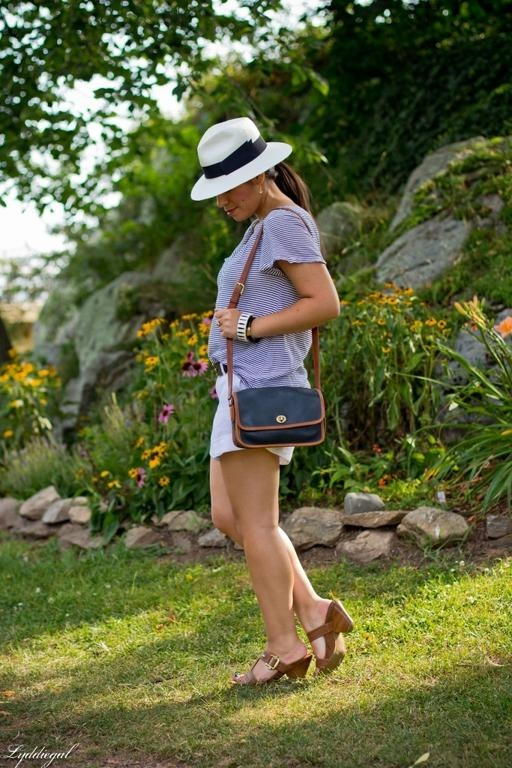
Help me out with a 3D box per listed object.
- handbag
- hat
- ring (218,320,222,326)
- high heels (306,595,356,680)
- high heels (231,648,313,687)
[{"bbox_3d":[0.057,0.106,2.610,0.328,0.186,0.122,-3,1,-23],"label":"handbag"},{"bbox_3d":[-0.091,-0.771,2.686,0.347,0.154,0.311,-29,35,-13],"label":"hat"},{"bbox_3d":[-0.116,-0.195,2.632,0.011,0.008,0.012,2,-11,0],"label":"ring"},{"bbox_3d":[0.261,0.856,2.738,0.119,0.251,0.111,3,7,1],"label":"high heels"},{"bbox_3d":[0.069,0.965,2.754,0.309,0.101,0.101,-4,-12,5],"label":"high heels"}]
